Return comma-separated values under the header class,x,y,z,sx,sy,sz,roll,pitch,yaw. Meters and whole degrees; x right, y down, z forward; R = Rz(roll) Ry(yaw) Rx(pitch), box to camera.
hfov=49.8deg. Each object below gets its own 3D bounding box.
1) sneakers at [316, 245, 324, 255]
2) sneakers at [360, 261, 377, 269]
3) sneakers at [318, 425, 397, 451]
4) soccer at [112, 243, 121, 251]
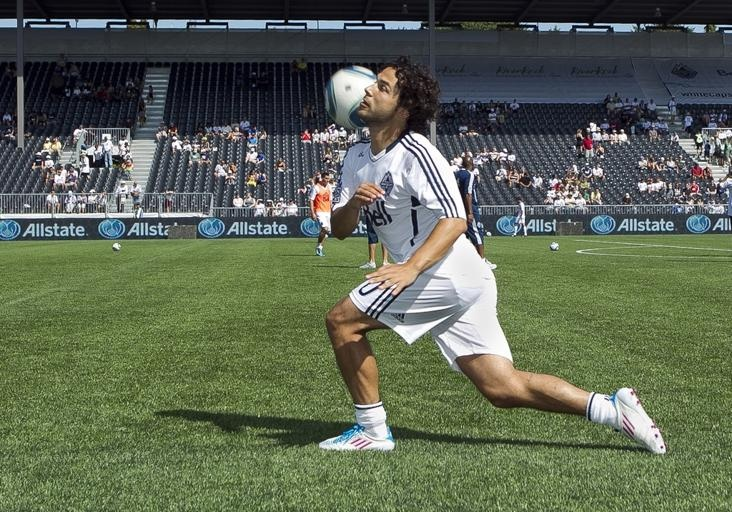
class,x,y,z,sx,sy,sz,roll,pitch,yaw
sneakers,-1.060,-0.118,18.197,0.198,0.286,0.235,-3,6,-6
sneakers,0.042,0.181,14.100,0.326,0.134,0.112,0,0,27
sneakers,-0.052,1.187,5.040,0.497,0.200,0.180,0,-24,-1
soccer,-6.726,-0.248,21.220,0.139,0.141,0.139,20,-14,17
